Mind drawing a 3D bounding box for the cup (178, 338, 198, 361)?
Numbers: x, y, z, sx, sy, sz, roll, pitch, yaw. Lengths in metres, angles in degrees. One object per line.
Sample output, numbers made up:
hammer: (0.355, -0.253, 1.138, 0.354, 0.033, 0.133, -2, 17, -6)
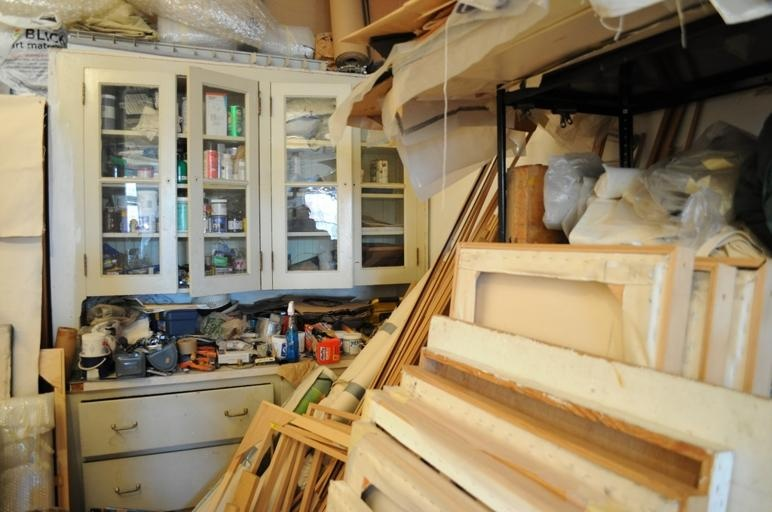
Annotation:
cup: (-1.039, 0.484, 2.915, 0.109, 0.077, 0.105, -2, -6, 0)

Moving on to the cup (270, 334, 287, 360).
cup: (-0.566, 0.495, 3.059, 0.114, 0.115, 0.110, 0, 4, 0)

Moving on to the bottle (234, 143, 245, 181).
bottle: (-0.812, -0.520, 3.086, 0.071, 0.194, 0.208, -1, -3, -13)

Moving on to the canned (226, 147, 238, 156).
canned: (-0.846, -0.577, 3.078, 0.051, 0.045, 0.045, 0, 5, -9)

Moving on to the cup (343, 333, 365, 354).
cup: (-0.185, 0.491, 3.126, 0.120, 0.083, 0.090, 1, 0, -14)

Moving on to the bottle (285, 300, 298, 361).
bottle: (-0.515, 0.410, 3.052, 0.068, 0.302, 0.177, -3, 6, -9)

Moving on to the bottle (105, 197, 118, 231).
bottle: (-1.440, -0.217, 2.934, 0.078, 0.178, 0.032, -5, 7, -22)

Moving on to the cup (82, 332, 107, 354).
cup: (-1.427, 0.424, 2.736, 0.110, 0.069, 0.097, -2, 3, 1)

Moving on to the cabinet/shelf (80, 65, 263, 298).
cabinet/shelf: (-1.129, -0.400, 2.987, 0.867, 1.208, 0.397, -2, 6, 3)

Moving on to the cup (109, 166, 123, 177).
cup: (-1.415, -0.444, 2.941, 0.065, 0.056, 0.043, 3, -5, -23)
